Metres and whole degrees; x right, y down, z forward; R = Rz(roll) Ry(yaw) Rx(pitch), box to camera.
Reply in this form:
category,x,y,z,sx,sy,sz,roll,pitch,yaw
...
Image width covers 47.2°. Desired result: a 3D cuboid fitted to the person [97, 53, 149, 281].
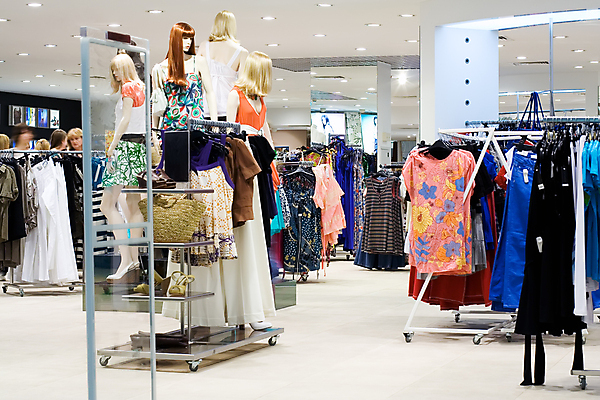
category,x,y,z,sx,sy,sz,roll,pitch,yaw
person,-1.148,-0.398,4.465,0.102,1.107,0.334,2,4,29

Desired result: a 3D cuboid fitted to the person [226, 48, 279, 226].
category,x,y,z,sx,sy,sz,roll,pitch,yaw
person,-0.447,-0.567,6.318,0.421,1.614,0.727,0,4,4

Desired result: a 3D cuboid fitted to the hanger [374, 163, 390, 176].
category,x,y,z,sx,sy,sz,roll,pitch,yaw
hanger,1.231,-0.470,10.499,0.211,0.091,0.370,3,6,10
